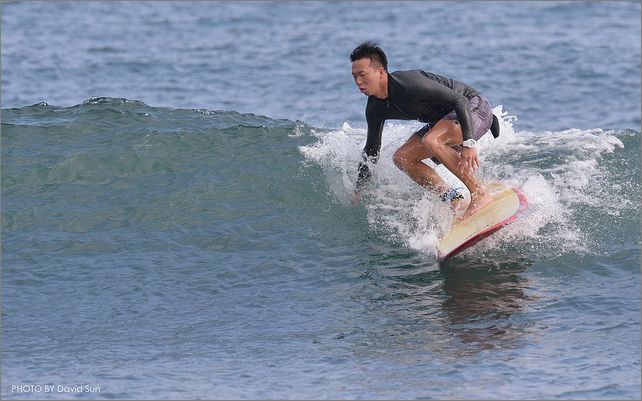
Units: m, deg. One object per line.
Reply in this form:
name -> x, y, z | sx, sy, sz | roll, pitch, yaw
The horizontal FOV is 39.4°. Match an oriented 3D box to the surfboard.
surfboard -> 2.749, 0.346, 15.044 | 2.104, 0.413, 0.878 | -23, 29, -8
